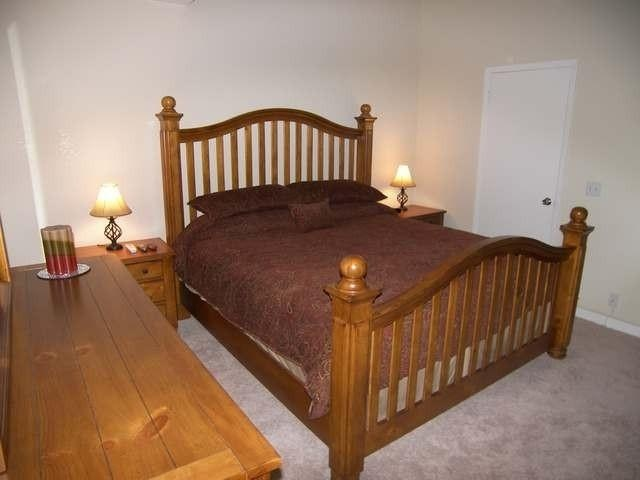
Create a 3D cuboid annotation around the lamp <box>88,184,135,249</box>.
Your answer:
[{"bbox_3d":[-1.620,-0.174,3.614,0.303,0.491,0.292,9,18,22],"label":"lamp"}]

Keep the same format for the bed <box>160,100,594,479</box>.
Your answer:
[{"bbox_3d":[0.086,0.372,3.883,2.700,2.346,2.931,-11,22,-31],"label":"bed"}]

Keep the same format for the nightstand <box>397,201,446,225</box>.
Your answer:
[{"bbox_3d":[1.079,-0.303,5.109,0.332,0.326,0.331,-17,28,-36],"label":"nightstand"}]

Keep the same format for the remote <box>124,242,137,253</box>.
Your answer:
[{"bbox_3d":[-1.460,0.049,3.590,0.072,0.028,0.131,-5,19,-30],"label":"remote"}]

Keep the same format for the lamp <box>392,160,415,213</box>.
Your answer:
[{"bbox_3d":[0.914,-0.563,5.117,0.274,0.472,0.267,-4,16,-8],"label":"lamp"}]

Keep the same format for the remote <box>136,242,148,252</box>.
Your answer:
[{"bbox_3d":[-1.416,0.047,3.687,0.058,0.032,0.221,-6,10,-24],"label":"remote"}]
